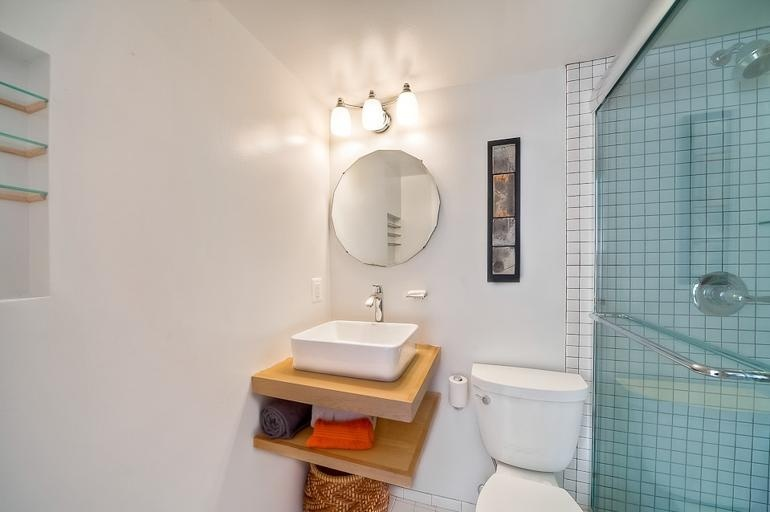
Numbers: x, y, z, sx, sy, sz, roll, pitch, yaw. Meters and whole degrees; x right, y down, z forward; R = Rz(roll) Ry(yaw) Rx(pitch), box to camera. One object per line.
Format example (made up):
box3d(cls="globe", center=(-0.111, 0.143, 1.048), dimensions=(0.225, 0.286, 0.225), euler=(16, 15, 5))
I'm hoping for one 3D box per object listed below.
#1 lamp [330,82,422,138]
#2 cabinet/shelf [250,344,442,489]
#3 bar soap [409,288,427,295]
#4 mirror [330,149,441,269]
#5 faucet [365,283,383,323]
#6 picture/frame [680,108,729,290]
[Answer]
box3d(cls="lamp", center=(-0.056, -0.799, 2.773), dimensions=(0.495, 0.213, 0.189), euler=(-7, 2, 11))
box3d(cls="cabinet/shelf", center=(-0.120, 0.788, 2.349), dimensions=(0.700, 0.368, 0.751), euler=(-2, -9, 13))
box3d(cls="bar soap", center=(0.180, 0.207, 2.791), dimensions=(0.102, 0.043, 0.062), euler=(2, 2, 12))
box3d(cls="mirror", center=(0.030, -0.275, 2.867), dimensions=(0.669, 0.698, 0.069), euler=(1, 4, 17))
box3d(cls="faucet", center=(-0.052, 0.272, 2.781), dimensions=(0.094, 0.209, 0.269), euler=(1, 2, -1))
box3d(cls="picture/frame", center=(1.265, -0.228, 1.964), dimensions=(0.033, 0.683, 0.203), euler=(0, 3, -17))
